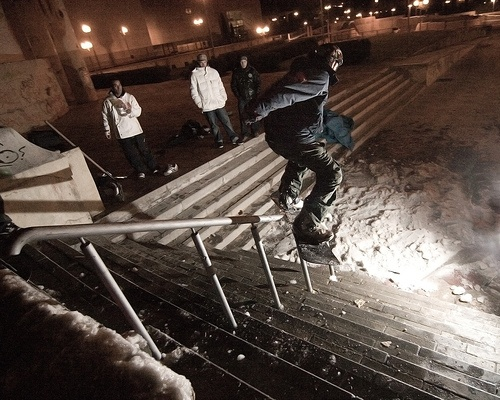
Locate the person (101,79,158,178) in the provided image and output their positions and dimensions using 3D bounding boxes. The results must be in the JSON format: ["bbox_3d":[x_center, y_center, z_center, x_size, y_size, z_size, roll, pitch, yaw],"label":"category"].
[{"bbox_3d":[-2.339,-1.347,6.765,0.629,1.830,1.090,21,12,39],"label":"person"}]

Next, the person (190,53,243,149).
[{"bbox_3d":[-0.819,-2.110,7.599,1.285,1.883,0.404,3,14,-46],"label":"person"}]

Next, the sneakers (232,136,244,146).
[{"bbox_3d":[-0.275,-1.365,8.077,0.314,0.253,0.149,0,21,-7],"label":"sneakers"}]

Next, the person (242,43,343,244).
[{"bbox_3d":[0.642,-0.698,4.314,1.390,2.503,0.636,13,9,-3],"label":"person"}]

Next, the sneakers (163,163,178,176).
[{"bbox_3d":[-1.613,-0.608,7.060,0.257,0.253,0.309,11,9,-5],"label":"sneakers"}]

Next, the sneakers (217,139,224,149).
[{"bbox_3d":[-0.689,-1.298,8.021,0.189,0.170,0.466,-4,12,-8],"label":"sneakers"}]
